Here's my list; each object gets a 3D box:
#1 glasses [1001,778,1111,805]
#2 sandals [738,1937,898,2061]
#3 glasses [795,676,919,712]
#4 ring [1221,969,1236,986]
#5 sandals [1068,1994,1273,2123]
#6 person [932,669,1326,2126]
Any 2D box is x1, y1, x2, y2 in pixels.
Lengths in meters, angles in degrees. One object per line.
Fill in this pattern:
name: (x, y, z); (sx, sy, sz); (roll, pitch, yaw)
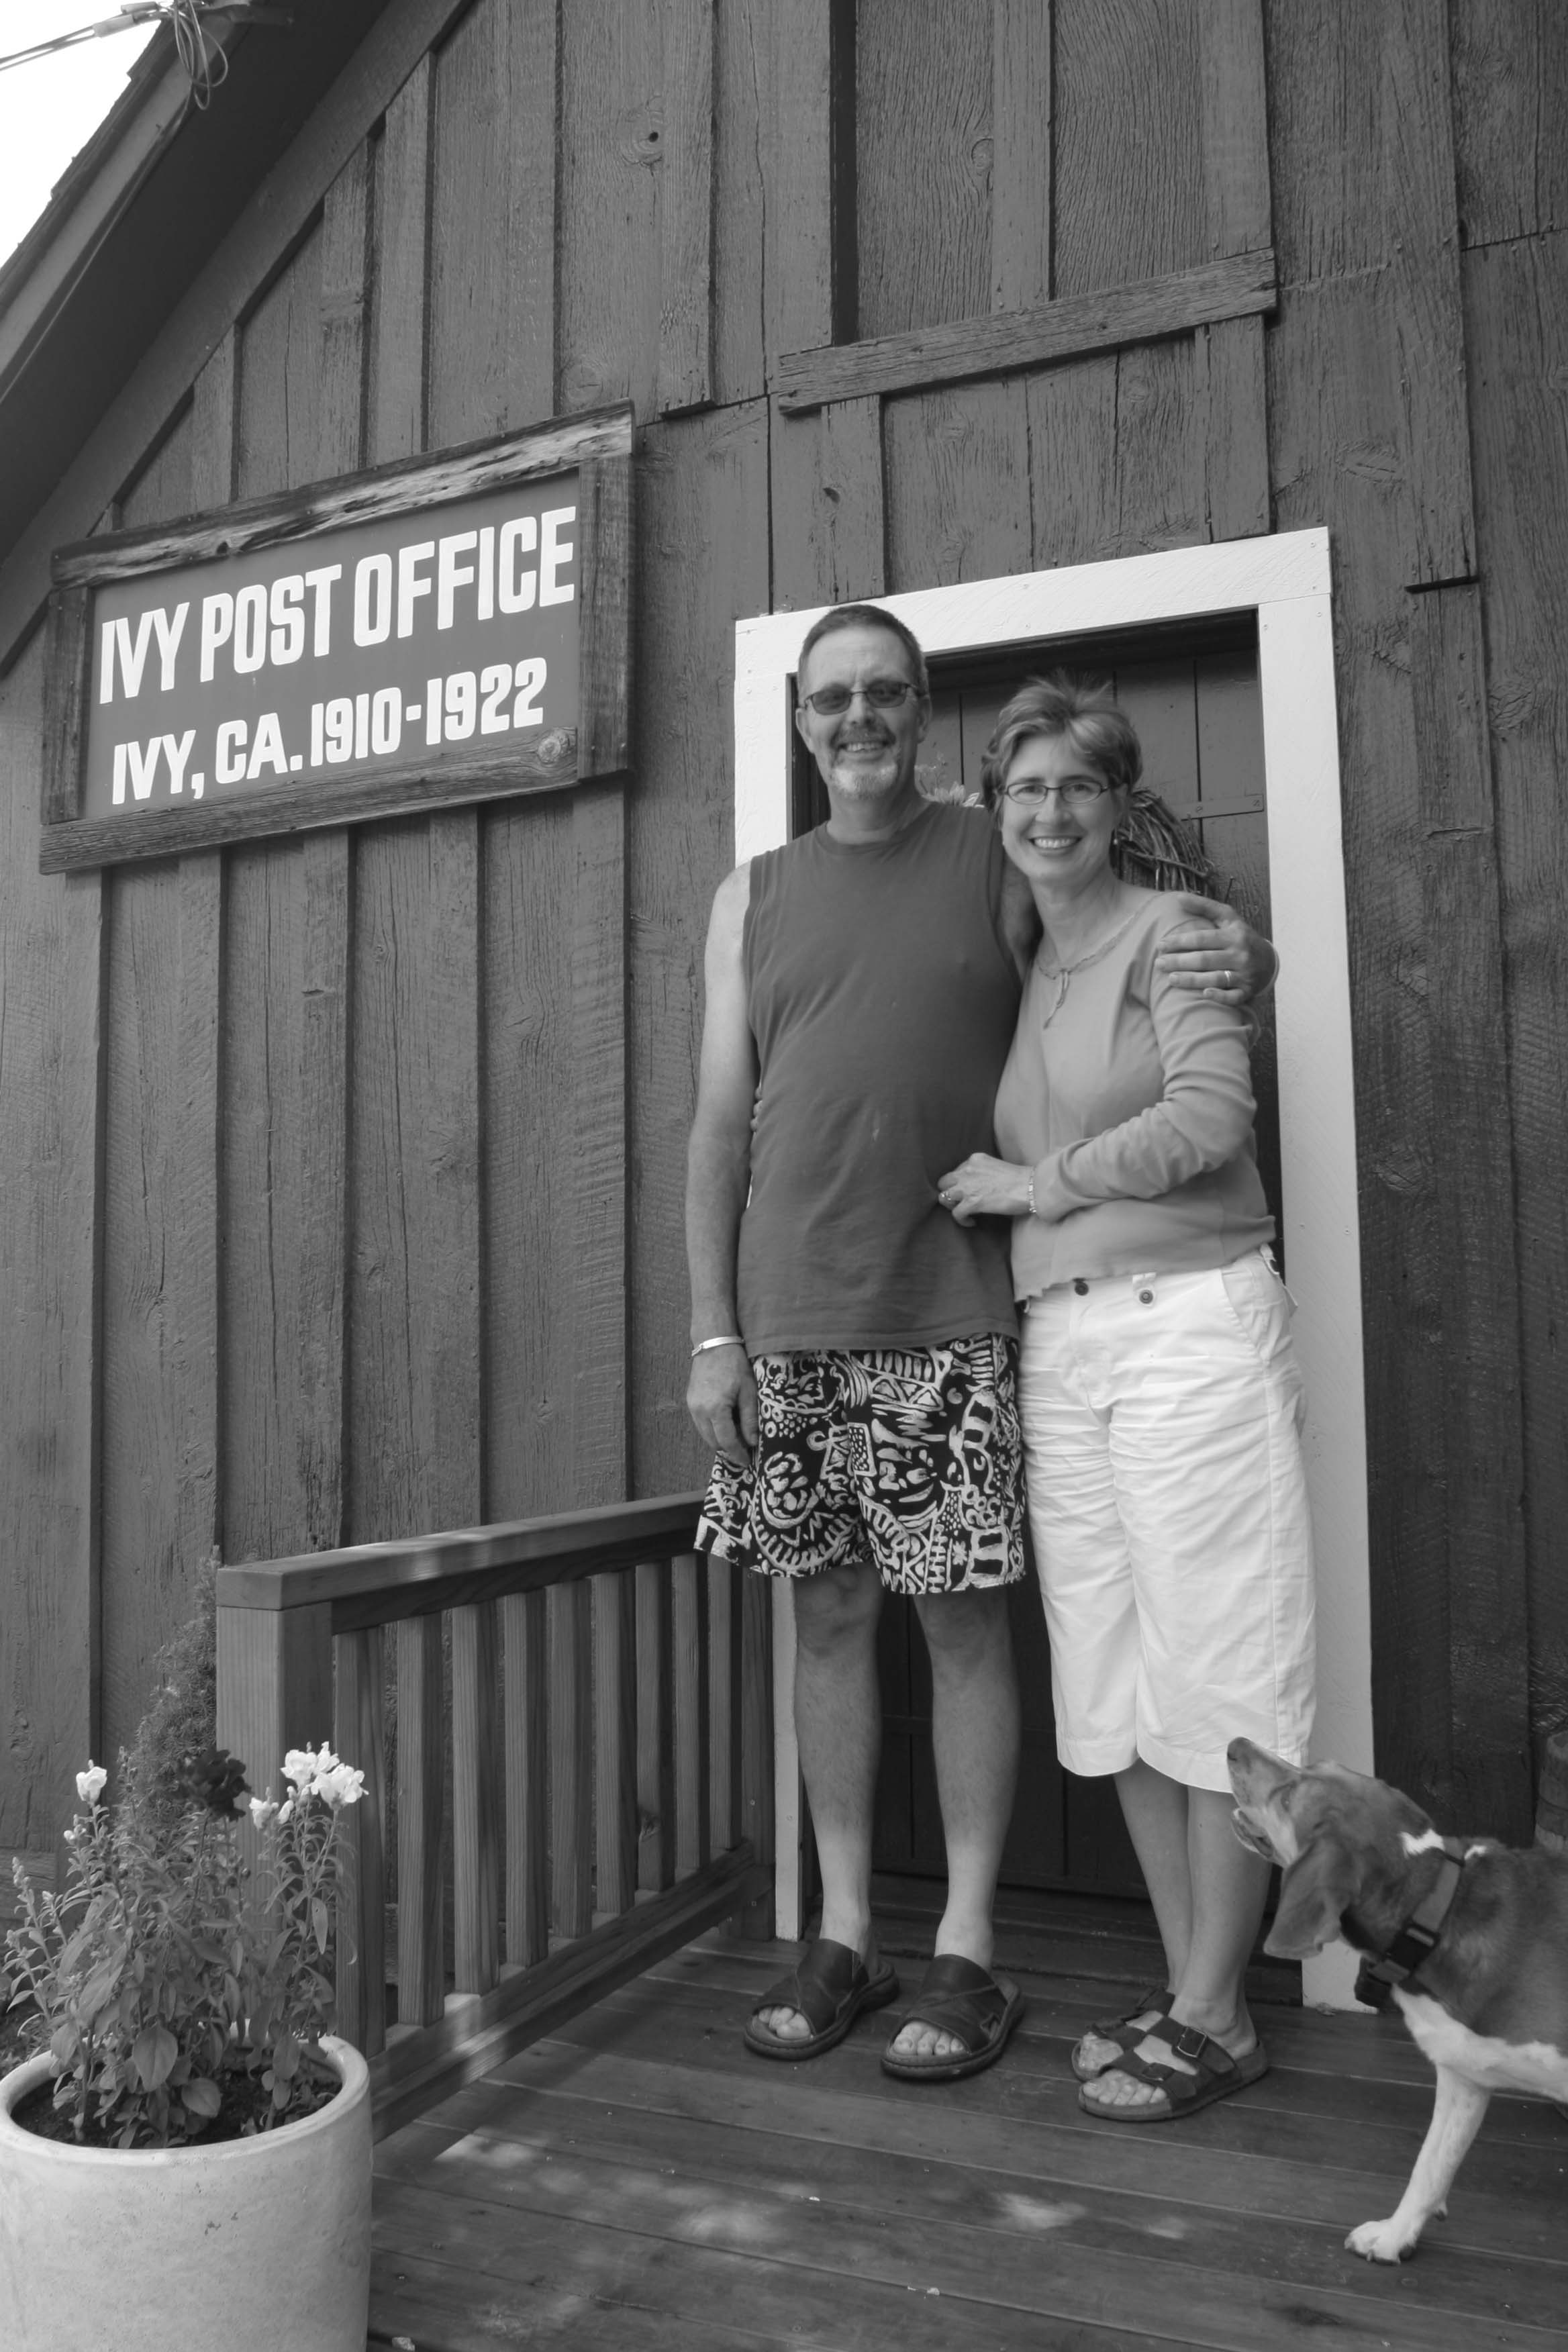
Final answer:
glasses: (0.331, -0.471, 3.368); (0.115, 0.035, 0.039); (-1, 5, 6)
sandals: (0.056, 1.036, 3.569); (0.110, 0.105, 0.257); (2, 7, 37)
glasses: (0.101, -0.621, 3.576); (0.150, 0.058, 0.083); (-1, 5, 6)
ring: (0.540, -0.242, 3.326); (0.012, 0.017, 0.005); (0, 5, -13)
sandals: (0.462, 1.040, 3.314); (0.158, 0.062, 0.117); (-1, 3, -24)
person: (0.425, 0.237, 3.441); (0.391, 1.690, 0.497); (-3, 5, -13)
